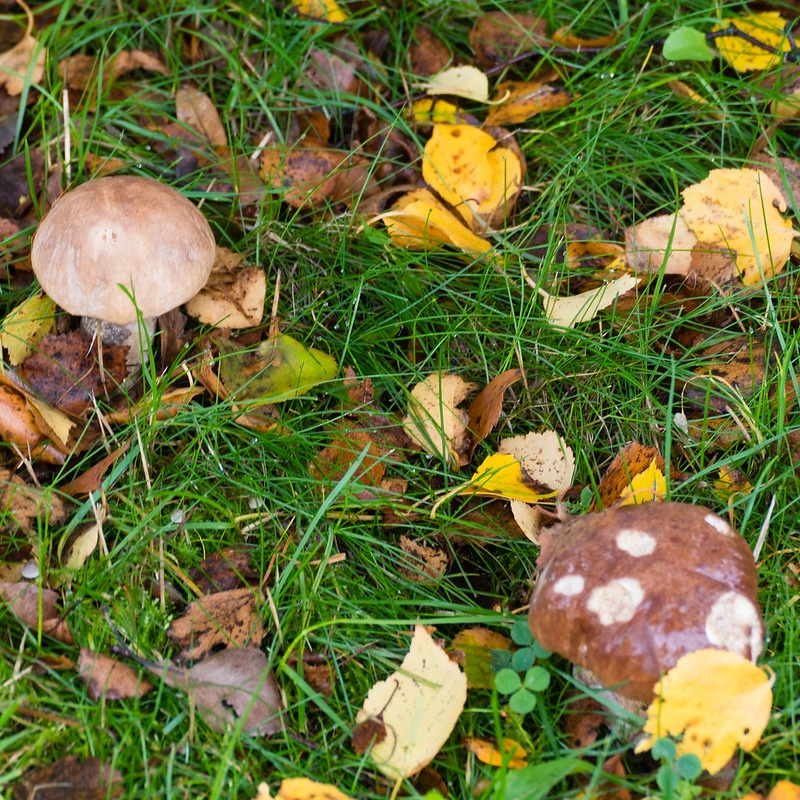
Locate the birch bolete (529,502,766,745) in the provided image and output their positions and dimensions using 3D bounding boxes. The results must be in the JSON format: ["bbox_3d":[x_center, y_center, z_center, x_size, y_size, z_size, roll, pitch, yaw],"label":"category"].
[{"bbox_3d":[0.484,0.419,1.605,0.446,0.230,0.430,26,74,18],"label":"birch bolete"}]

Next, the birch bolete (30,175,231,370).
[{"bbox_3d":[-0.697,-0.304,2.007,0.385,0.459,0.352,17,56,4],"label":"birch bolete"}]
